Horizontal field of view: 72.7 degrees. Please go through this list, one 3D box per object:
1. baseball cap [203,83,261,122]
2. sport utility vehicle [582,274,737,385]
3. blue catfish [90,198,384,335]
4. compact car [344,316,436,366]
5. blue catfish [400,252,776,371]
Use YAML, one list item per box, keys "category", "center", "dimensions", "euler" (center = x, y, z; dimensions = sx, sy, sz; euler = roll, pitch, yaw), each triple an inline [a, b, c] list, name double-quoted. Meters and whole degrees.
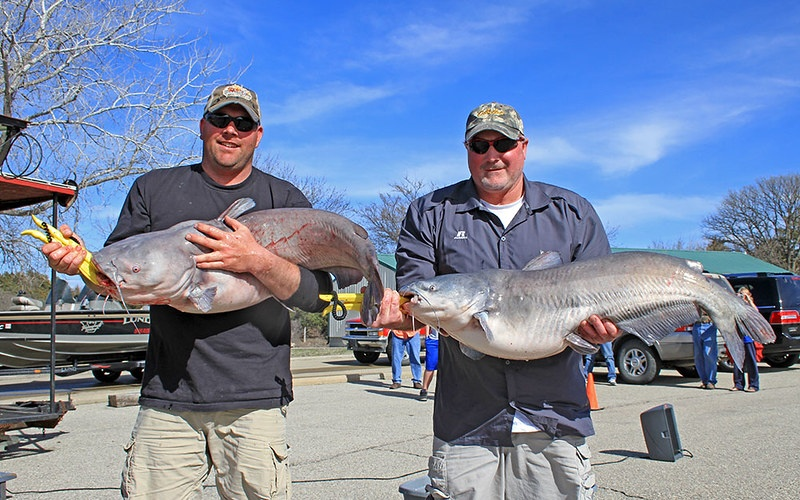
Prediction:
- category: "baseball cap"
  center: [-1.388, -1.236, 4.566]
  dimensions: [0.461, 0.297, 0.597]
  euler: [-1, 4, -20]
- category: "sport utility vehicle"
  center: [7.162, 2.347, 14.867]
  dimensions: [5.006, 2.223, 2.337]
  euler: [3, -12, -4]
- category: "blue catfish"
  center: [-1.278, 0.056, 4.337]
  dimensions: [1.860, 0.733, 0.994]
  euler: [-5, 16, -15]
- category: "compact car"
  center: [-0.640, 3.249, 20.769]
  dimensions: [1.775, 1.634, 3.827]
  euler: [-2, -11, 21]
- category: "blue catfish"
  center: [1.329, 0.463, 4.436]
  dimensions: [2.991, 0.923, 1.071]
  euler: [-2, -16, 3]
